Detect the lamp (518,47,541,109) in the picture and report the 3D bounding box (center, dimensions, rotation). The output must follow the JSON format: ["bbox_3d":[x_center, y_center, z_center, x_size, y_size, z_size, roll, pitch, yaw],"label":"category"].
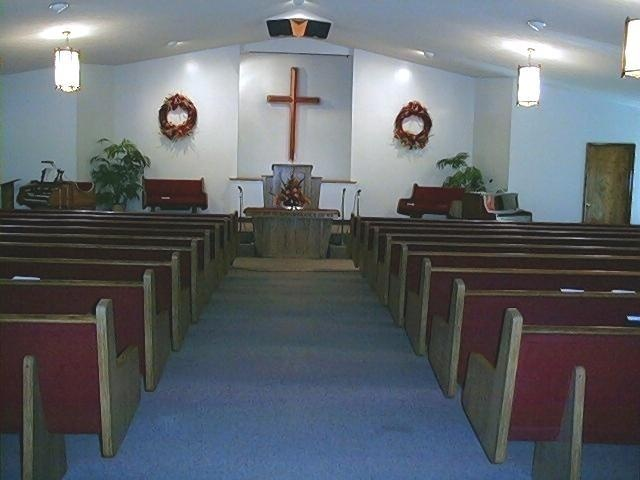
[{"bbox_3d":[3.169,-2.440,7.924,0.318,0.810,0.616,3,8,21],"label":"lamp"}]

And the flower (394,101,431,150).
[{"bbox_3d":[1.809,-2.297,10.309,0.728,0.329,0.834,13,53,23],"label":"flower"}]

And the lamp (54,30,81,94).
[{"bbox_3d":[-3.533,-2.385,7.313,0.306,0.550,0.227,-4,9,-32],"label":"lamp"}]

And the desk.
[{"bbox_3d":[-0.346,-0.117,6.201,1.102,0.600,0.781,-1,10,-19],"label":"desk"}]

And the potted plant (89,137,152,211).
[{"bbox_3d":[-3.800,-1.207,9.676,1.106,1.431,1.087,0,3,-6],"label":"potted plant"}]

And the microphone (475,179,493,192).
[{"bbox_3d":[3.057,-1.016,9.792,0.286,0.307,0.080,12,-2,-31],"label":"microphone"}]
